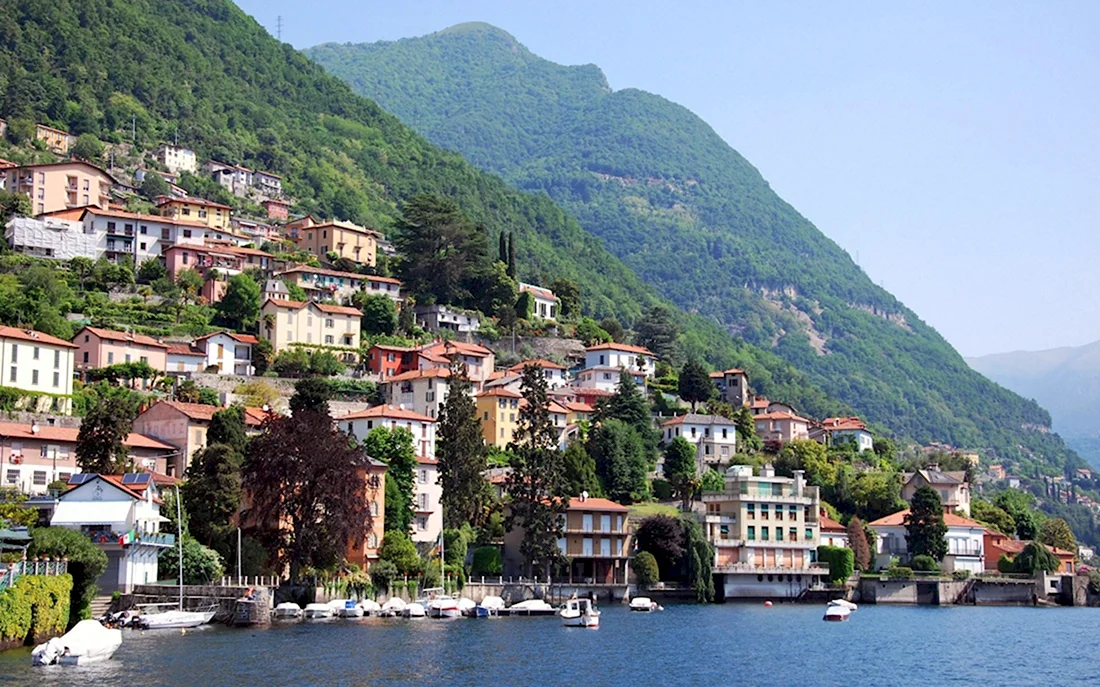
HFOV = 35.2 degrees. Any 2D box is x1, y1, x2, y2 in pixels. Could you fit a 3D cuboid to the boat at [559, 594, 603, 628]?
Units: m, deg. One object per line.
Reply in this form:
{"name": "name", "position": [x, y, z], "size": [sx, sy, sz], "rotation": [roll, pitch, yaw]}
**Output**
{"name": "boat", "position": [4.237, 37.366, 242.531], "size": [5.212, 4.372, 8.589], "rotation": [3, -12, -4]}

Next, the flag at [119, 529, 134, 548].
{"name": "flag", "position": [-55.285, 25.146, 226.780], "size": [1.393, 1.924, 0.684], "rotation": [7, -12, -15]}

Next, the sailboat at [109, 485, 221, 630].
{"name": "sailboat", "position": [-50.100, 28.565, 229.258], "size": [11.998, 17.556, 4.808], "rotation": [4, -12, -11]}

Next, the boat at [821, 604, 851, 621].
{"name": "boat", "position": [42.014, 38.968, 254.790], "size": [3.322, 2.771, 6.756], "rotation": [-2, -12, 18]}

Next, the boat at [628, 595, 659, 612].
{"name": "boat", "position": [13.781, 38.349, 257.724], "size": [4.034, 2.697, 8.194], "rotation": [1, -12, 3]}

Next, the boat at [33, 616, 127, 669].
{"name": "boat", "position": [-57.700, 36.322, 212.160], "size": [9.712, 5.721, 2.615], "rotation": [7, -13, -21]}
